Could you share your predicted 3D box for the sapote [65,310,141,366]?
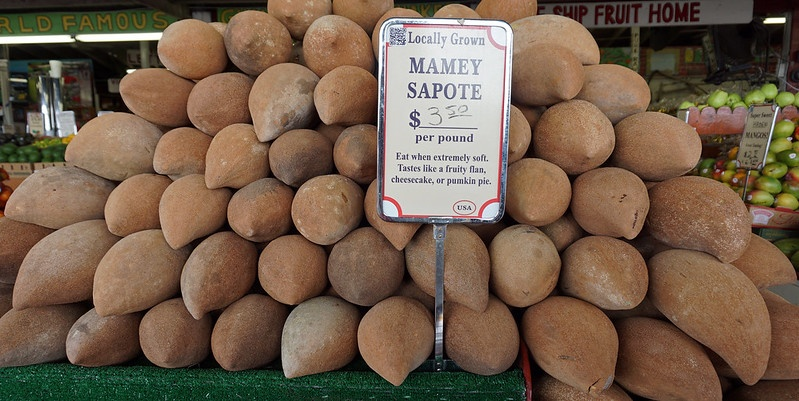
[{"bbox_3d":[-2.931,1.283,6.446,0.564,0.654,0.468,1,1,32],"label":"sapote"}]
